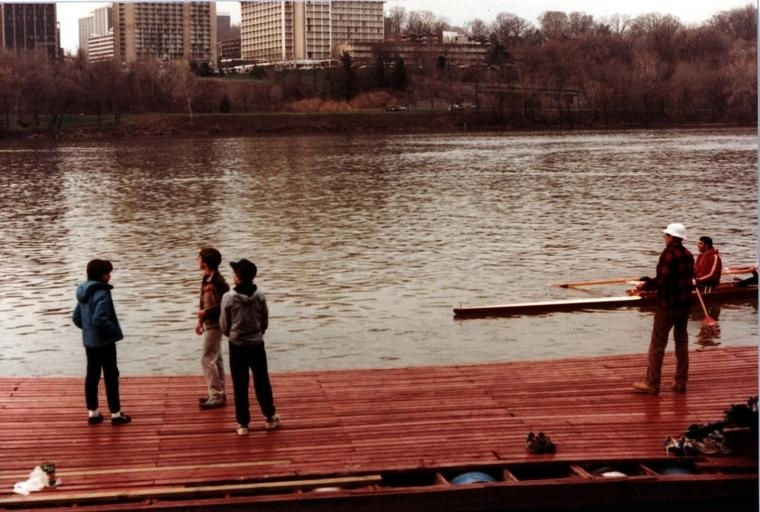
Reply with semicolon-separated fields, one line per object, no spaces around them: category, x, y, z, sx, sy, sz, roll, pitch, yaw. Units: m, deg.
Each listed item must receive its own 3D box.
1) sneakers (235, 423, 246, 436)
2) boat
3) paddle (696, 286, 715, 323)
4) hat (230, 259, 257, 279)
sneakers;-4.824;6.172;46.083;0.261;0.242;0.408;1;12;-7
boat;9.203;1.615;52.981;10.500;0.934;1.322;-3;10;-7
paddle;12.969;2.009;52.693;0.498;1.594;0.237;-24;-15;-5
hat;-4.818;0.429;46.159;0.986;0.440;0.597;14;18;19
